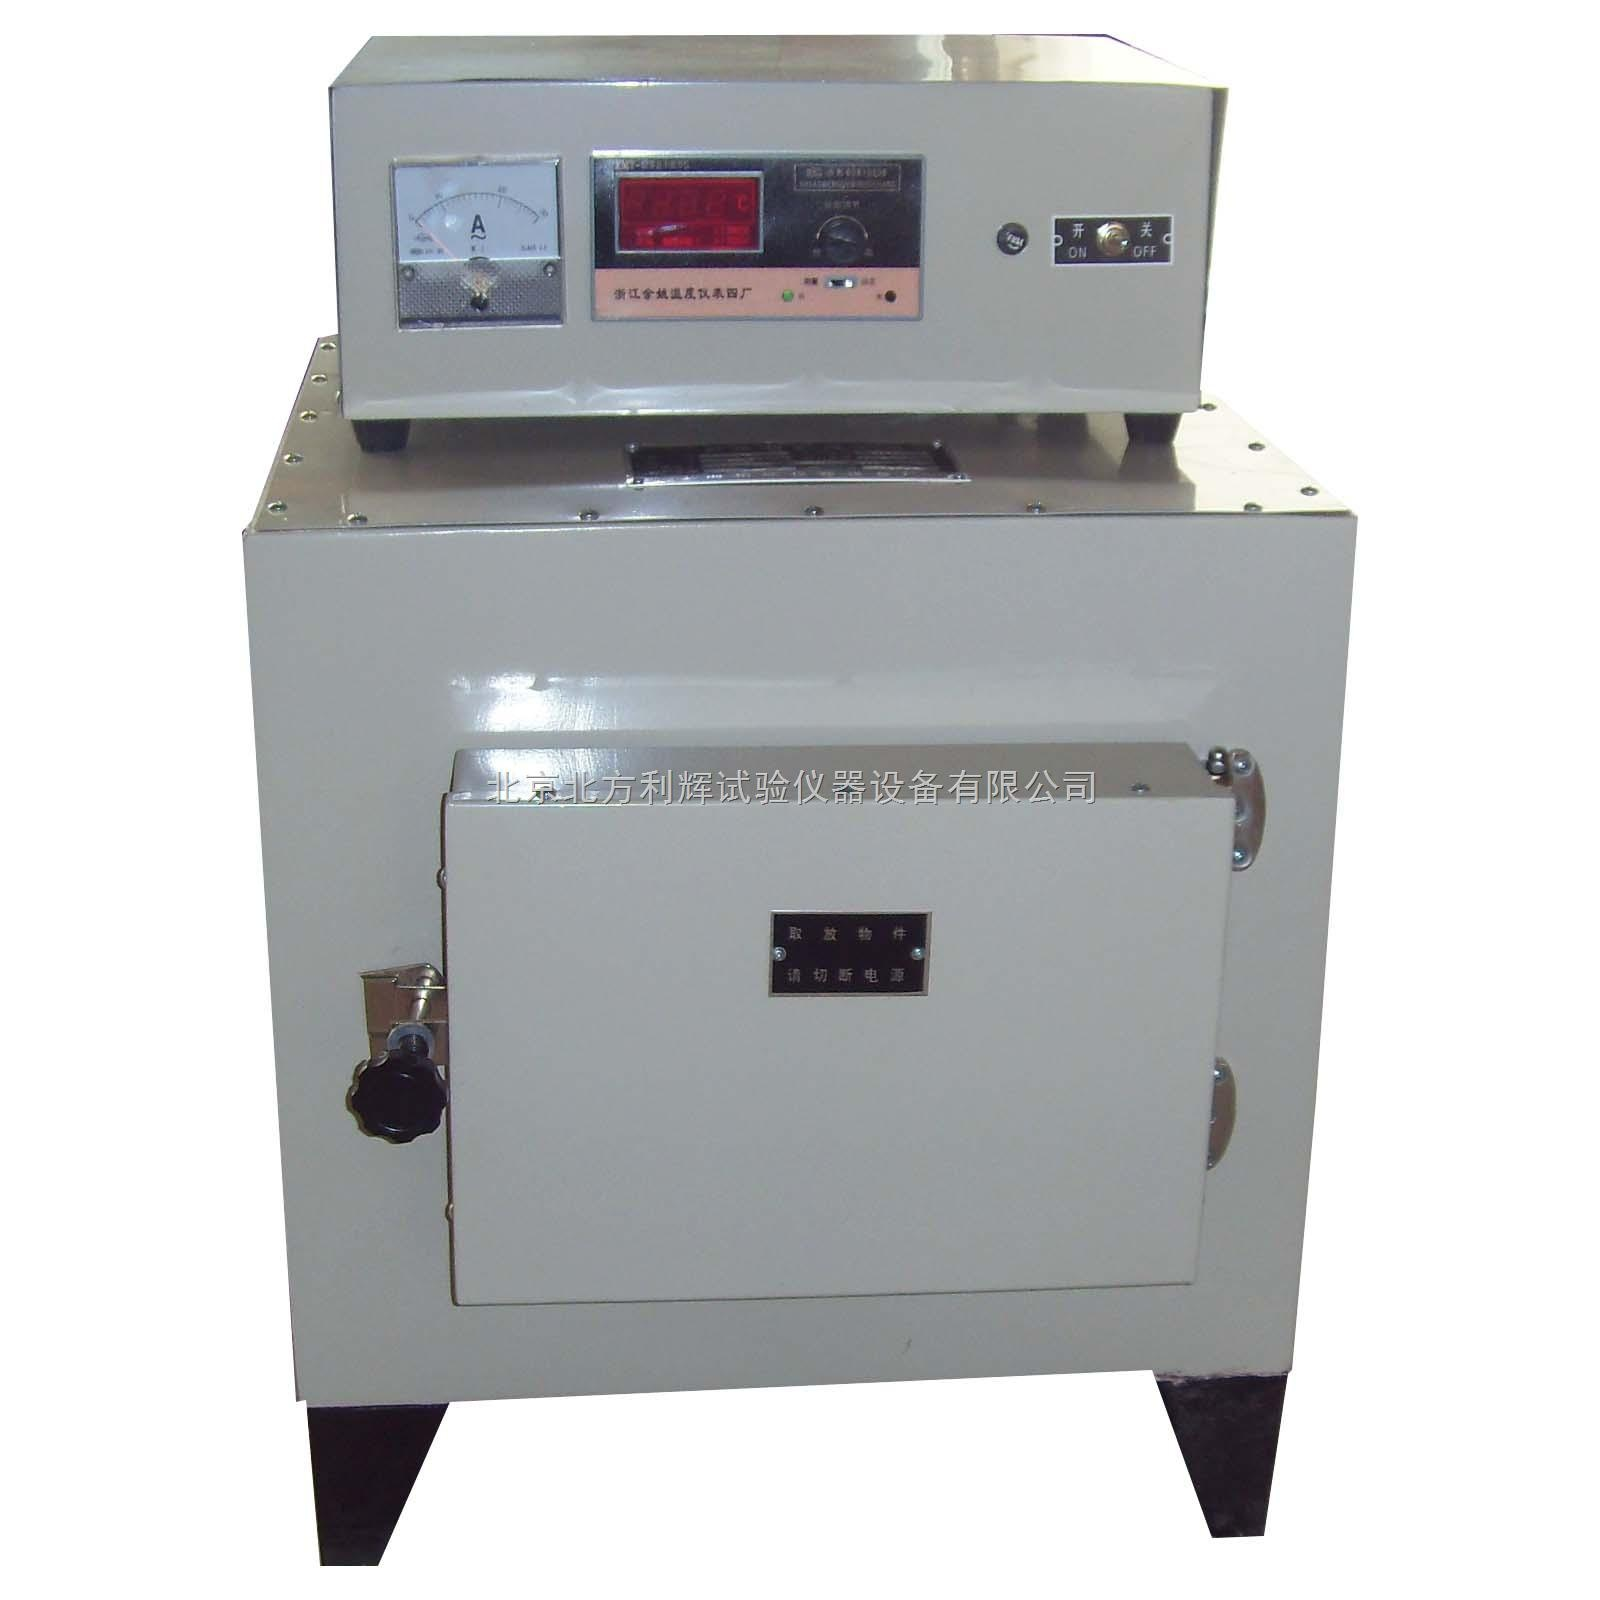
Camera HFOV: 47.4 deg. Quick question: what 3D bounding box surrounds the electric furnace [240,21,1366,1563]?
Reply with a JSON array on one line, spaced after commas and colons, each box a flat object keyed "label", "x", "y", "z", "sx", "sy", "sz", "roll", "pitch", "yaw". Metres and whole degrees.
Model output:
[{"label": "electric furnace", "x": -0.030, "y": -0.116, "z": 1.752, "sx": 0.872, "sy": 1.006, "sz": 0.998, "roll": -3, "pitch": 17, "yaw": -7}]
